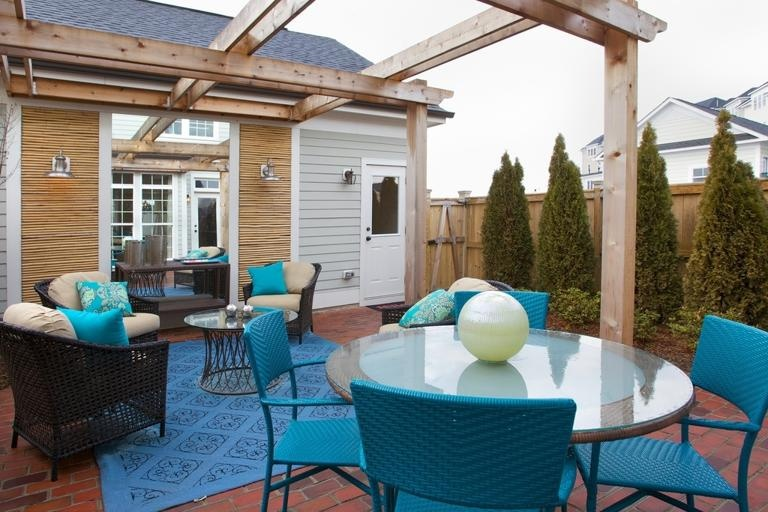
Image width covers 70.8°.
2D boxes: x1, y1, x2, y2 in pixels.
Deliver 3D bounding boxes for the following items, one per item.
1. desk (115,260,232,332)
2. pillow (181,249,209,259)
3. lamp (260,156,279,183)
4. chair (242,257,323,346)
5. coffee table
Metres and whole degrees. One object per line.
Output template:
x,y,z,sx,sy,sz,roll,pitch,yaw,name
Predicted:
-3.033,0.525,8.409,1.268,0.534,1.073,8,7,-16,desk
-2.976,-0.016,8.675,0.355,0.087,0.340,-1,4,-15,pillow
-1.799,-1.366,8.530,0.289,0.371,0.209,-1,5,-17,lamp
-1.590,0.588,7.781,1.133,0.983,1.186,0,-5,10,chair
-1.725,1.083,5.928,1.474,0.664,1.221,2,2,-3,coffee table
